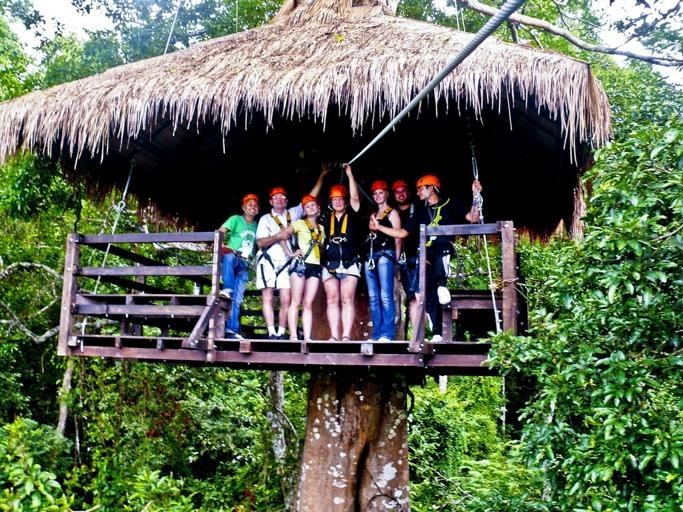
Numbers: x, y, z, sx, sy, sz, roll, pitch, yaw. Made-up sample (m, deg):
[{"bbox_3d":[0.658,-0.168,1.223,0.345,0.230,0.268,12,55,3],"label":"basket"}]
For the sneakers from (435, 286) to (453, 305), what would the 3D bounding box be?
[{"bbox_3d":[1.409,0.560,13.091,0.155,0.286,0.289,6,-10,-25],"label":"sneakers"}]

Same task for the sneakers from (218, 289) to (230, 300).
[{"bbox_3d":[-1.665,0.544,13.445,0.084,0.153,0.373,0,-10,13],"label":"sneakers"}]

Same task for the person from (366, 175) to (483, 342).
[{"bbox_3d":[1.278,0.017,13.455,1.402,2.452,0.827,1,-9,7],"label":"person"}]

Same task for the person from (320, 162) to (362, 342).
[{"bbox_3d":[-0.003,-0.069,13.670,0.570,2.596,0.666,2,-9,3],"label":"person"}]

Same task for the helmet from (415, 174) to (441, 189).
[{"bbox_3d":[1.284,-1.102,13.745,0.264,0.152,0.209,7,-12,-9],"label":"helmet"}]

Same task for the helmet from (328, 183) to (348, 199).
[{"bbox_3d":[-0.057,-0.959,14.088,0.227,0.183,0.330,1,8,4],"label":"helmet"}]
